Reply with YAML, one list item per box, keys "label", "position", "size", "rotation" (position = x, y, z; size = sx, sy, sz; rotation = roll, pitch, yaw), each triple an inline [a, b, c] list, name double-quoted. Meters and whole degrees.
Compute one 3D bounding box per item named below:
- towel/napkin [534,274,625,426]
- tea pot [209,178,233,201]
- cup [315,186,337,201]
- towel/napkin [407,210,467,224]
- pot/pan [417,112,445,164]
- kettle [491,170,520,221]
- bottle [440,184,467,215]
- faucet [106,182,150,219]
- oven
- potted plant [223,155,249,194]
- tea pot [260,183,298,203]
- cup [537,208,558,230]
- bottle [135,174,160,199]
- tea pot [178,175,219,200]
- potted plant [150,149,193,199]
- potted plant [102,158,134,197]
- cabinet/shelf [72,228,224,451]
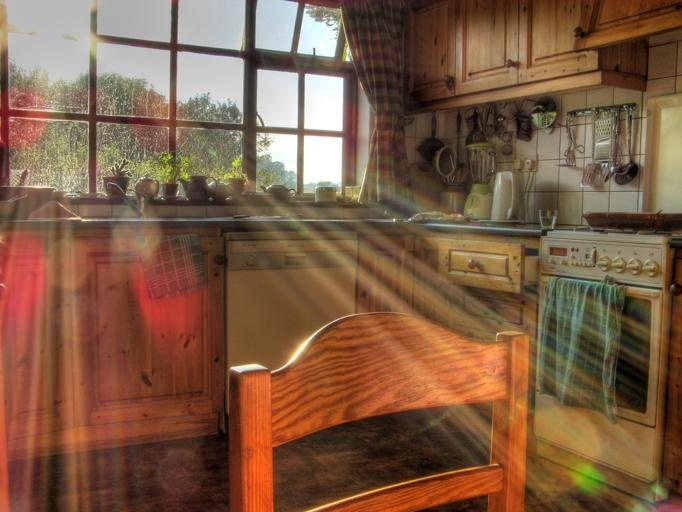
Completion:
- label: "towel/napkin"
  position: [1.045, 0.398, 2.453]
  size: [0.365, 0.566, 0.083]
  rotation: [6, 4, 41]
- label: "tea pot"
  position: [-0.766, -0.420, 3.527]
  size: [0.128, 0.132, 0.130]
  rotation: [1, 0, 0]
- label: "cup"
  position: [-0.094, -0.415, 3.709]
  size: [0.102, 0.085, 0.108]
  rotation: [1, 4, 0]
- label: "towel/napkin"
  position: [0.610, -0.242, 3.435]
  size: [0.199, 0.054, 0.172]
  rotation: [0, -1, -12]
- label: "pot/pan"
  position: [0.684, -0.855, 3.971]
  size: [0.193, 0.366, 0.252]
  rotation: [0, 8, -13]
- label: "kettle"
  position: [1.039, -0.369, 3.394]
  size: [0.160, 0.316, 0.286]
  rotation: [-4, 13, -3]
- label: "bottle"
  position: [0.778, -0.391, 3.778]
  size: [0.170, 0.214, 0.179]
  rotation: [0, 3, 0]
- label: "faucet"
  position: [-1.227, -0.336, 3.196]
  size: [0.183, 0.188, 0.402]
  rotation: [-4, 11, -37]
- label: "oven"
  position: [1.273, 0.515, 2.601]
  size: [0.644, 0.991, 0.693]
  rotation: [3, 14, 32]
- label: "potted plant"
  position: [-0.678, -0.522, 3.606]
  size: [0.130, 0.227, 0.124]
  rotation: [-1, 6, -27]
- label: "tea pot"
  position: [-0.402, -0.414, 3.586]
  size: [0.182, 0.107, 0.216]
  rotation: [3, 9, 10]
- label: "cup"
  position: [1.033, -0.185, 2.748]
  size: [0.076, 0.092, 0.131]
  rotation: [5, 9, 26]
- label: "bottle"
  position: [-1.144, -0.408, 3.279]
  size: [0.138, 0.149, 0.107]
  rotation: [3, -7, -21]
- label: "tea pot"
  position: [-0.895, -0.423, 3.449]
  size: [0.186, 0.133, 0.143]
  rotation: [4, -4, -12]
- label: "potted plant"
  position: [-1.106, -0.521, 3.589]
  size: [0.197, 0.323, 0.273]
  rotation: [2, 7, -18]
- label: "potted plant"
  position: [-1.322, -0.468, 3.313]
  size: [0.168, 0.233, 0.188]
  rotation: [0, 2, 9]
- label: "cabinet/shelf"
  position: [-0.983, 0.313, 2.971]
  size: [0.646, 1.041, 0.493]
  rotation: [0, 20, -16]
